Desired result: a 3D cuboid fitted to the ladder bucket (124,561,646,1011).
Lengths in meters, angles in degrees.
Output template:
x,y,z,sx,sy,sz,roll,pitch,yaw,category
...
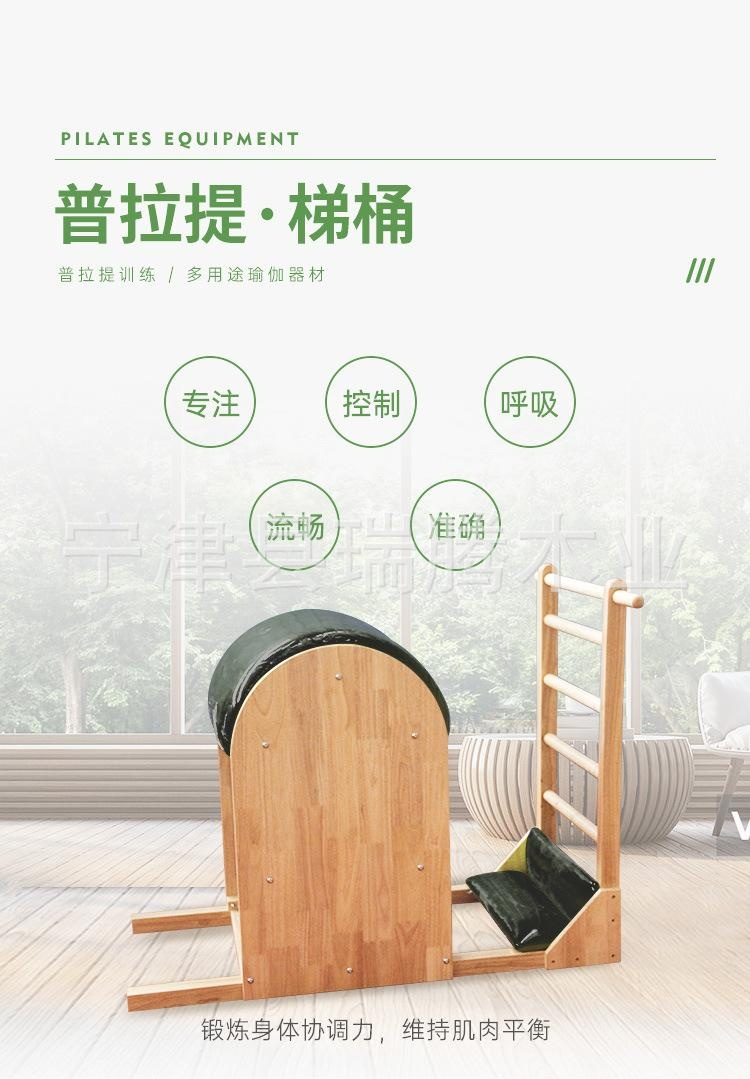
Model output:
x,y,z,sx,sy,sz,roll,pitch,yaw,category
0.034,0.557,2.290,1.155,1.003,0.681,0,-4,-1,ladder bucket
